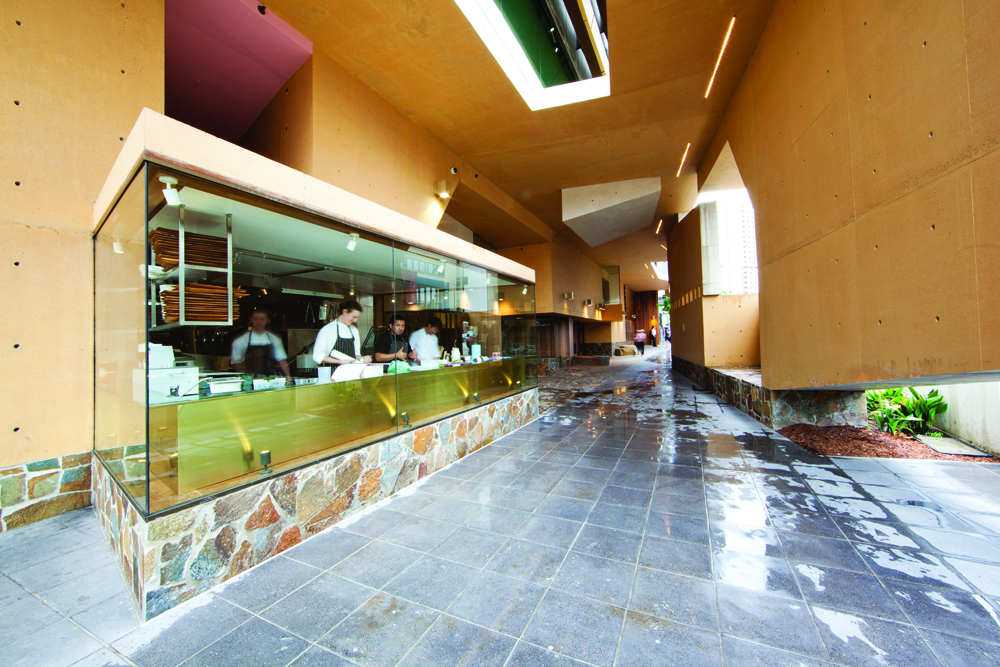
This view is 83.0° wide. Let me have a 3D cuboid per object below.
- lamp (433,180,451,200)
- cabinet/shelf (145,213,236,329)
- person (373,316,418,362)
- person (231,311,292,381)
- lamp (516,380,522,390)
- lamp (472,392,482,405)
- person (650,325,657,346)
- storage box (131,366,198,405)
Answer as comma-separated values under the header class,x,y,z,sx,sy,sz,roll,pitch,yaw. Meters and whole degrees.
class,x,y,z,sx,sy,sz,roll,pitch,yaw
lamp,-0.944,-2.447,9.592,0.297,0.067,0.294,-21,-39,-12
cabinet/shelf,-3.335,-0.660,6.034,0.755,1.106,0.737,0,1,10
person,-1.224,0.140,6.911,0.547,0.712,0.557,-1,5,-10
person,-3.073,0.081,7.453,0.407,0.874,0.924,-4,-2,22
lamp,0.294,0.820,8.989,0.075,0.134,0.143,-9,-11,33
lamp,-0.309,0.898,7.851,0.095,0.173,0.185,-4,-2,8
person,9.120,0.154,33.841,0.314,0.953,0.943,-4,-2,9
storage box,-2.915,0.454,5.046,0.531,0.316,0.391,-2,-2,-37
